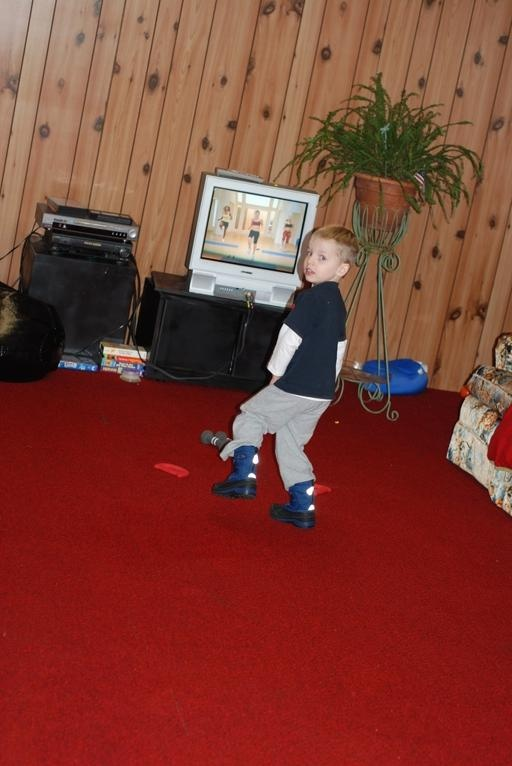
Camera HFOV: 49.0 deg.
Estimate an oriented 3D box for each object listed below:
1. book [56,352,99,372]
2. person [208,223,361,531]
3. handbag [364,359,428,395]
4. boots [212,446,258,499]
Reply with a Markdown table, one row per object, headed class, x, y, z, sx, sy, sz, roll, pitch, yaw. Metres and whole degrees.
| class | x | y | z | sx | sy | sz | roll | pitch | yaw |
| --- | --- | --- | --- | --- | --- | --- | --- | --- | --- |
| book | -1.018 | -0.111 | 3.215 | 0.212 | 0.070 | 0.137 | 11 | 13 | -22 |
| person | 0.149 | -0.039 | 1.984 | 0.398 | 1.035 | 0.290 | 15 | 11 | 4 |
| handbag | 1.041 | -0.050 | 3.993 | 0.278 | 0.149 | 0.393 | 5 | 4 | 31 |
| boots | -0.079 | 0.321 | 2.018 | 0.183 | 0.187 | 0.089 | -16 | -29 | 35 |
